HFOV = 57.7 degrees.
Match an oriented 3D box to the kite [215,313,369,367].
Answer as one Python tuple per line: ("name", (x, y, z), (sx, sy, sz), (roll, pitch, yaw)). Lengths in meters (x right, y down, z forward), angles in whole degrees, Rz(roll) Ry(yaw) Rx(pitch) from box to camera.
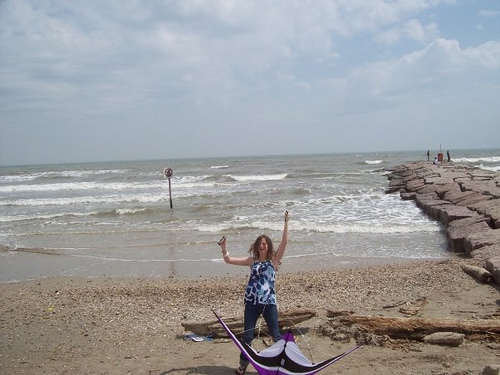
("kite", (0.532, 2.349, 6.787), (2.278, 0.740, 1.296), (-2, 3, 12))
